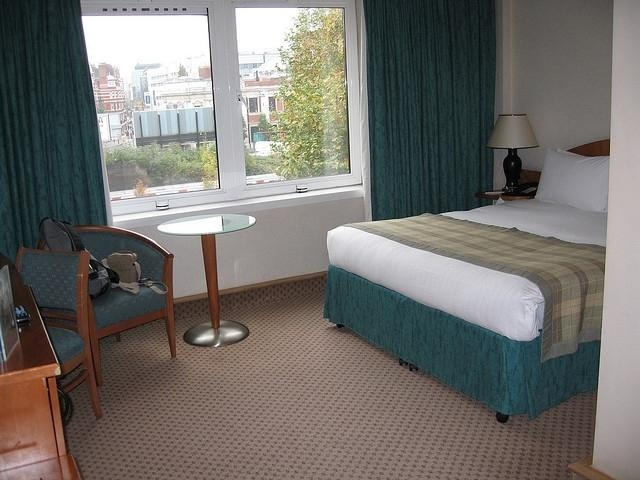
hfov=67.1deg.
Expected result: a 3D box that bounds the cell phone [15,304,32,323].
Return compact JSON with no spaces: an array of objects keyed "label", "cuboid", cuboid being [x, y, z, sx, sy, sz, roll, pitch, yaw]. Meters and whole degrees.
[{"label":"cell phone","cuboid":[-1.281,0.322,2.083,0.069,0.026,0.070,-8,49,-43]}]

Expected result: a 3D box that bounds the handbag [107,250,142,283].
[{"label":"handbag","cuboid":[-1.503,0.189,3.745,0.224,0.243,0.220,-9,14,-28]}]

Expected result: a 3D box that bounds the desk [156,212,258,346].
[{"label":"desk","cuboid":[-0.911,0.319,4.385,0.984,1.232,1.047,0,10,1]}]

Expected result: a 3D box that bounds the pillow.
[{"label":"pillow","cuboid":[2.330,-0.544,4.437,0.207,0.522,0.775,14,1,-26]}]
